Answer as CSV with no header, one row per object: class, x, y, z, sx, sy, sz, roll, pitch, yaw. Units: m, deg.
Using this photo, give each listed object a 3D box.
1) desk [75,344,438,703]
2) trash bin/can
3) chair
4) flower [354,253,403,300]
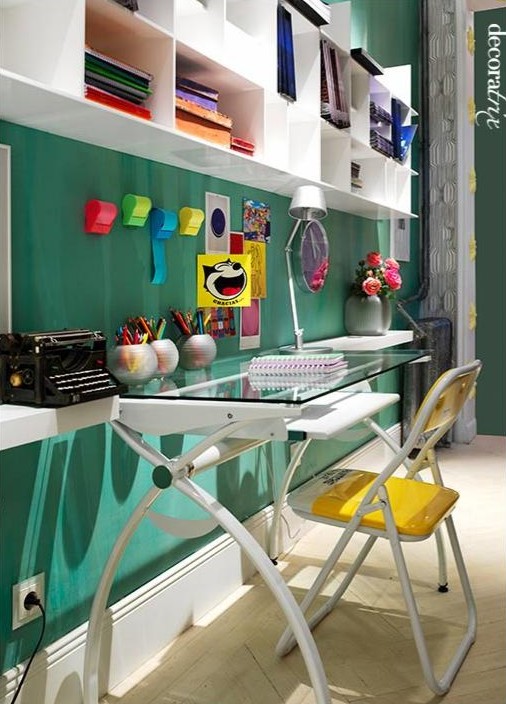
desk,0.035,0.541,1.326,0.651,0.759,1.118,-1,0,15
trash bin/can,1.358,0.111,4.123,0.411,1.206,0.762,4,7,23
chair,0.343,0.405,1.615,0.548,0.905,0.632,6,8,24
flower,0.720,-0.450,3.089,0.273,0.268,0.421,-4,7,12
